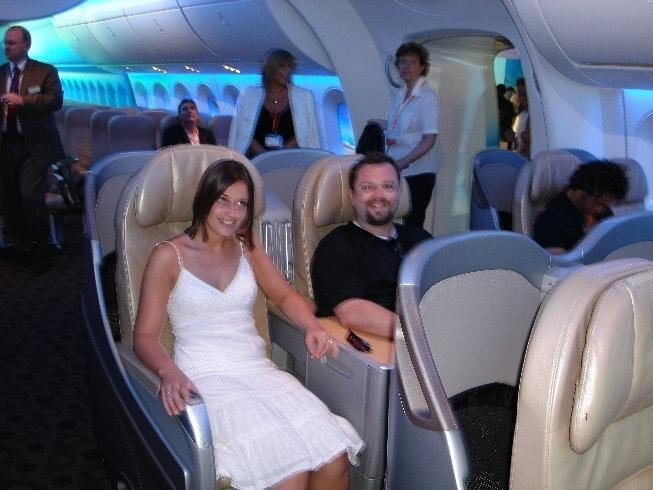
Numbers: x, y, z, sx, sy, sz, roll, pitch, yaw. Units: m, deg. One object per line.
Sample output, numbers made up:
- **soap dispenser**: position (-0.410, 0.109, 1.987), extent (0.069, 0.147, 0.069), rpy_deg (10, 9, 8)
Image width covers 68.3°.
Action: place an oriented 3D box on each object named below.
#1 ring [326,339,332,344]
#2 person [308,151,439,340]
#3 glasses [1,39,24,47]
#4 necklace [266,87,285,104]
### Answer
- **ring**: position (0.009, 0.345, 1.726), extent (0.020, 0.016, 0.005), rpy_deg (-5, -7, 20)
- **person**: position (0.126, -0.046, 2.190), extent (0.596, 1.034, 0.637), rpy_deg (0, 6, -20)
- **glasses**: position (-2.762, -1.776, 4.226), extent (0.143, 0.046, 0.060), rpy_deg (-1, 11, -14)
- **necklace**: position (-0.417, -1.225, 3.951), extent (0.093, 0.139, 0.130), rpy_deg (-14, 7, -19)
